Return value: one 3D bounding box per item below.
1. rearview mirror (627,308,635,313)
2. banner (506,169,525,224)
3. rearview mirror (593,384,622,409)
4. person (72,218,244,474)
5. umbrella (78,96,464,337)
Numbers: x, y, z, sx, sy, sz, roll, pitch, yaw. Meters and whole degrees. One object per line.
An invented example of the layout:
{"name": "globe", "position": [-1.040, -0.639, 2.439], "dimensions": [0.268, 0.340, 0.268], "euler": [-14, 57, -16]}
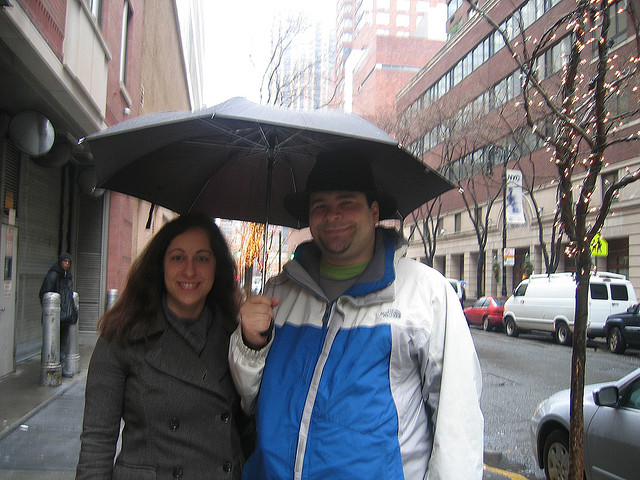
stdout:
{"name": "rearview mirror", "position": [9.821, 2.176, 15.202], "dimensions": [0.190, 0.161, 0.112], "euler": [0, -1, 27]}
{"name": "banner", "position": [12.160, -2.705, 30.008], "dimensions": [0.921, 3.443, 2.042], "euler": [-3, -4, 38]}
{"name": "rearview mirror", "position": [2.616, 1.418, 4.370], "dimensions": [0.216, 0.246, 0.099], "euler": [0, 4, 25]}
{"name": "person", "position": [-0.834, 0.536, 2.703], "dimensions": [0.796, 1.358, 0.623], "euler": [1, -3, -10]}
{"name": "umbrella", "position": [-0.329, -0.068, 2.805], "dimensions": [1.515, 1.234, 1.704], "euler": [-2, -9, 4]}
